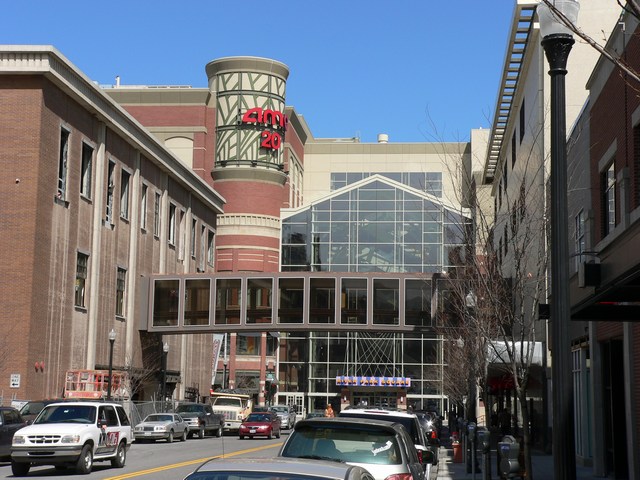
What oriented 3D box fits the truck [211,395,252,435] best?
[{"bbox_3d":[-5.637,10.827,57.526,1.668,1.886,3.241,0,-13,2],"label":"truck"}]
